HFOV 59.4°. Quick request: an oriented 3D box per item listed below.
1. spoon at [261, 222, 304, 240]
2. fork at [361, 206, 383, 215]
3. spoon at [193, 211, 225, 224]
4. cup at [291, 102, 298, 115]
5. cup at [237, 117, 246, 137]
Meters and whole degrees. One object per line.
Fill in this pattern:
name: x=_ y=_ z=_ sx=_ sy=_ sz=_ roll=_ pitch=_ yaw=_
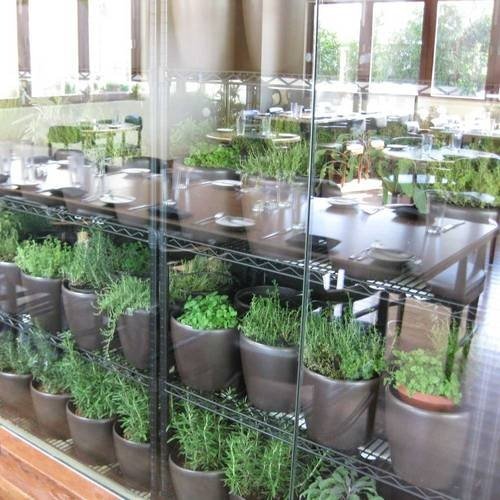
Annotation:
spoon: x=0.077 y=-0.043 z=1.009 sx=0.093 sy=0.035 sz=0.009 roll=-9 pitch=26 yaw=32
fork: x=0.241 y=-0.081 z=0.874 sx=0.021 sy=0.006 sz=0.022 roll=18 pitch=32 yaw=37
spoon: x=-0.105 y=-0.077 z=1.153 sx=0.083 sy=0.032 sz=0.013 roll=-22 pitch=6 yaw=38
cup: x=0.098 y=-0.314 z=0.967 sx=0.018 sy=0.035 sz=0.020 roll=0 pitch=6 yaw=2
cup: x=-0.022 y=-0.307 z=1.078 sx=0.024 sy=0.051 sz=0.025 roll=1 pitch=28 yaw=-1
